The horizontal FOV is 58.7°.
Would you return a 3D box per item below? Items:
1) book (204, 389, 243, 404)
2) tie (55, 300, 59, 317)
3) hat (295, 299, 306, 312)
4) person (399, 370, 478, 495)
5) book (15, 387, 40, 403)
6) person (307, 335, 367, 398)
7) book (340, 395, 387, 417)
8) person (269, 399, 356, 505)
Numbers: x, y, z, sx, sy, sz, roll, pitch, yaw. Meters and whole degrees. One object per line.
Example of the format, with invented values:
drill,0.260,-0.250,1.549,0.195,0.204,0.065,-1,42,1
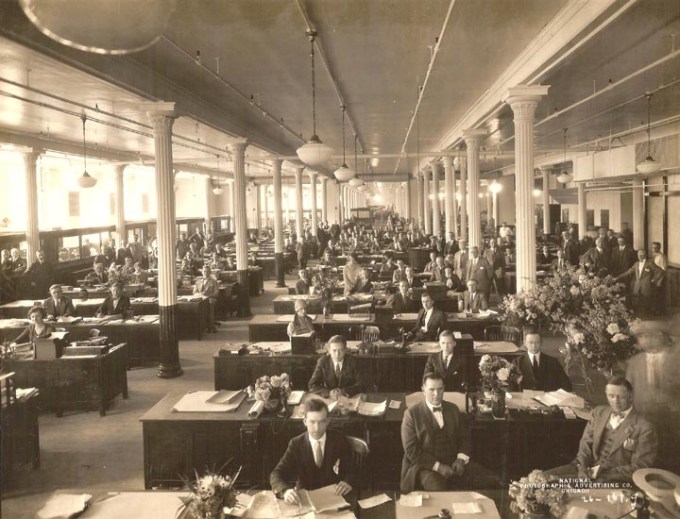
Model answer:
book,-1.634,1.965,8.631,0.447,0.140,0.437,-2,1,13
tie,-6.608,1.173,14.192,0.093,0.322,0.071,-7,-9,41
hat,-0.739,0.848,11.130,0.174,0.224,0.221,-1,-5,-7
person,1.191,2.183,7.568,0.869,1.535,0.566,-2,1,3
book,-4.752,2.047,9.194,0.272,0.212,0.564,-3,1,-25
person,-0.056,1.678,9.430,0.893,1.424,0.842,-1,-9,1
book,0.310,2.032,8.331,0.331,0.091,0.295,8,6,22
person,-0.257,2.175,6.994,1.000,1.724,1.016,-1,-11,-3
